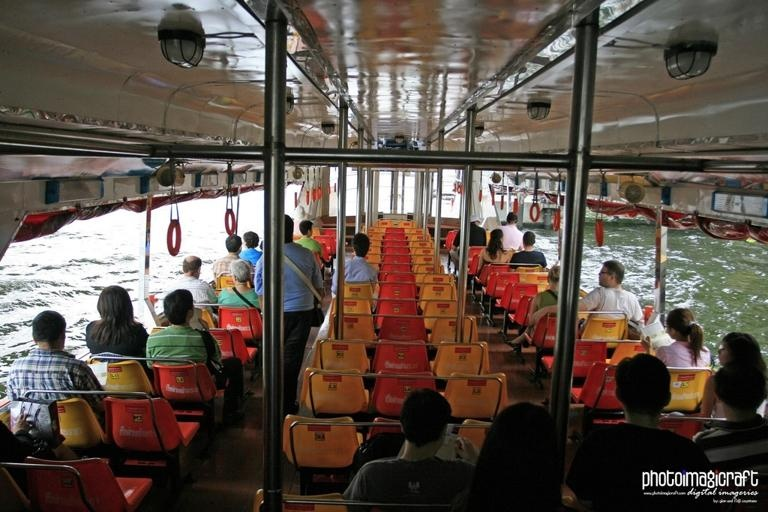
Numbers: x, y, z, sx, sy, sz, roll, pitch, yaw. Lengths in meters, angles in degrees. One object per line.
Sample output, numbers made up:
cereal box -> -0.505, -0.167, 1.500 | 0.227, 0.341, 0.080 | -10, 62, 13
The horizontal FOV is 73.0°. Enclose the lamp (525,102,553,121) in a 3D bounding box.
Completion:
lamp -> 2.330, -2.158, 7.670 | 0.383, 0.269, 0.310 | -1, 8, -7

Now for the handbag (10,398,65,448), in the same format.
handbag -> -3.005, 1.436, 4.452 | 0.461, 0.406, 0.161 | 9, 18, 2

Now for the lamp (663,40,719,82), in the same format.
lamp -> 2.423, -1.550, 4.153 | 0.305, 0.224, 0.313 | -1, 3, -3
